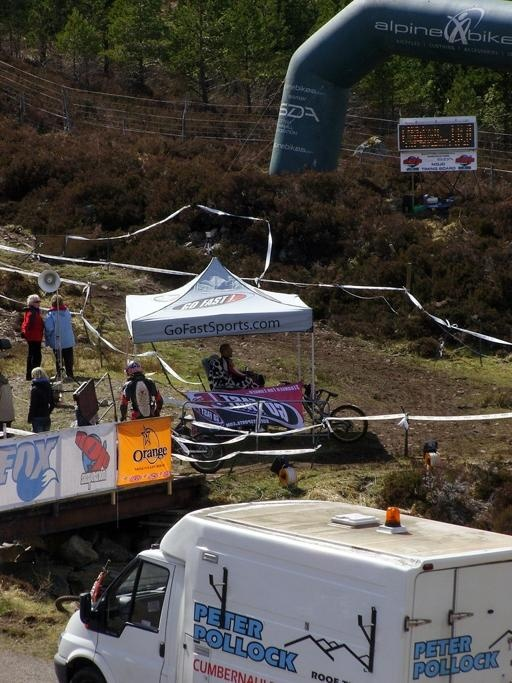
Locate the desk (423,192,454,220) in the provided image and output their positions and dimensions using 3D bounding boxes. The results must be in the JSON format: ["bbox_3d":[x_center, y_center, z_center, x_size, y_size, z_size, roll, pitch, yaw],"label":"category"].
[{"bbox_3d":[5.855,-4.260,44.253,0.915,0.732,1.615,2,4,-11],"label":"desk"}]

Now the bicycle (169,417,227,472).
[{"bbox_3d":[-0.979,1.805,24.359,0.935,0.976,0.900,2,4,-3],"label":"bicycle"}]

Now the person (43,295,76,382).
[{"bbox_3d":[-3.904,-0.071,27.847,0.561,1.712,1.208,2,4,0],"label":"person"}]

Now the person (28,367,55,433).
[{"bbox_3d":[-3.541,0.956,23.157,0.392,1.102,0.841,2,4,-9],"label":"person"}]

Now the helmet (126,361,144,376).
[{"bbox_3d":[-1.982,0.415,23.000,0.194,0.215,0.261,-5,21,-21],"label":"helmet"}]

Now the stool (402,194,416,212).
[{"bbox_3d":[4.916,-4.392,44.781,0.390,0.578,0.756,3,4,6],"label":"stool"}]

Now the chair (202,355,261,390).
[{"bbox_3d":[-0.454,0.540,25.372,0.834,0.610,0.597,-3,4,2],"label":"chair"}]

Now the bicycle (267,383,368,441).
[{"bbox_3d":[1.141,1.310,26.128,1.879,1.128,0.922,-1,9,5],"label":"bicycle"}]

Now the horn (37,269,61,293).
[{"bbox_3d":[-3.983,-1.169,27.019,0.380,0.390,0.458,2,4,-7],"label":"horn"}]

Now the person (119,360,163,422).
[{"bbox_3d":[-1.857,0.816,22.912,0.689,0.971,0.482,2,4,-6],"label":"person"}]
